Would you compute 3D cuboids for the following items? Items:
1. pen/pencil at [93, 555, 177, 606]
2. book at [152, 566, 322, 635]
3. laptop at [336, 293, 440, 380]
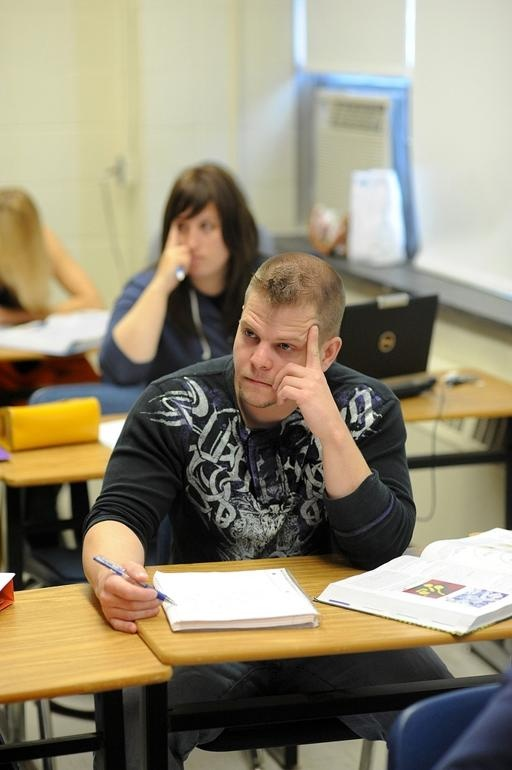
[{"bbox_3d":[-0.162,0.256,0.854,0.114,0.019,0.016,32,-11,0],"label":"pen/pencil"},{"bbox_3d":[-0.037,0.275,0.877,0.199,0.032,0.196,-3,9,-10],"label":"book"},{"bbox_3d":[0.387,-0.171,2.158,0.390,0.253,0.278,-8,18,-35],"label":"laptop"}]
